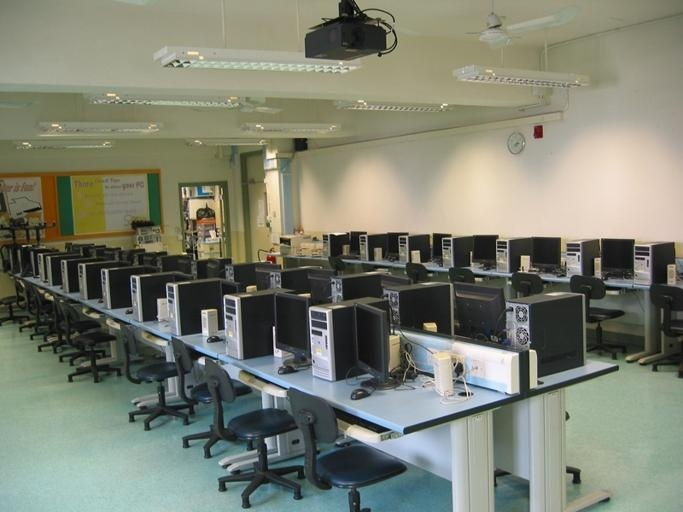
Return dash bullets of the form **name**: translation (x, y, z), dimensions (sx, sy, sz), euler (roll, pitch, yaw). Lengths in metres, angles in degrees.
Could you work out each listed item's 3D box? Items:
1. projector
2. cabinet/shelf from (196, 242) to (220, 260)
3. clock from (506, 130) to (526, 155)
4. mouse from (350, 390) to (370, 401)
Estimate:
- **projector**: translation (0.016, -1.697, 4.150), dimensions (0.376, 0.191, 0.500), euler (-11, 16, -29)
- **cabinet/shelf**: translation (-3.411, -0.130, 13.809), dimensions (0.490, 0.383, 0.355), euler (-3, 6, -39)
- **clock**: translation (2.680, -1.741, 8.254), dimensions (0.068, 0.359, 0.330), euler (-12, 13, -29)
- **mouse**: translation (0.126, 0.911, 3.525), dimensions (0.095, 0.039, 0.137), euler (4, 12, 37)
